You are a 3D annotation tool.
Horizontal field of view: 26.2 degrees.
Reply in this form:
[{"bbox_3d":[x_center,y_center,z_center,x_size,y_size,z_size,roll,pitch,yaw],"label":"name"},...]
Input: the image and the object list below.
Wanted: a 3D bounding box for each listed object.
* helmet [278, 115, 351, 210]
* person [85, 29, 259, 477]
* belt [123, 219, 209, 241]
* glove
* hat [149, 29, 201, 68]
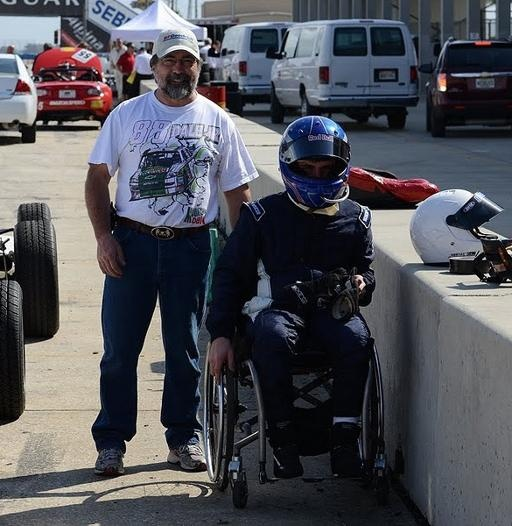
[{"bbox_3d":[0.229,-0.384,4.266,0.259,0.354,0.353,-1,11,-9],"label":"helmet"},{"bbox_3d":[-0.387,-0.059,4.903,0.647,1.843,0.851,0,3,-8],"label":"person"},{"bbox_3d":[-0.397,-0.137,4.583,0.145,0.041,0.153,2,8,-12],"label":"belt"},{"bbox_3d":[0.266,0.121,4.195,0.235,0.115,0.173,1,-3,-36],"label":"glove"},{"bbox_3d":[-0.334,-0.919,4.624,0.211,0.147,0.216,-1,11,-8],"label":"hat"}]
